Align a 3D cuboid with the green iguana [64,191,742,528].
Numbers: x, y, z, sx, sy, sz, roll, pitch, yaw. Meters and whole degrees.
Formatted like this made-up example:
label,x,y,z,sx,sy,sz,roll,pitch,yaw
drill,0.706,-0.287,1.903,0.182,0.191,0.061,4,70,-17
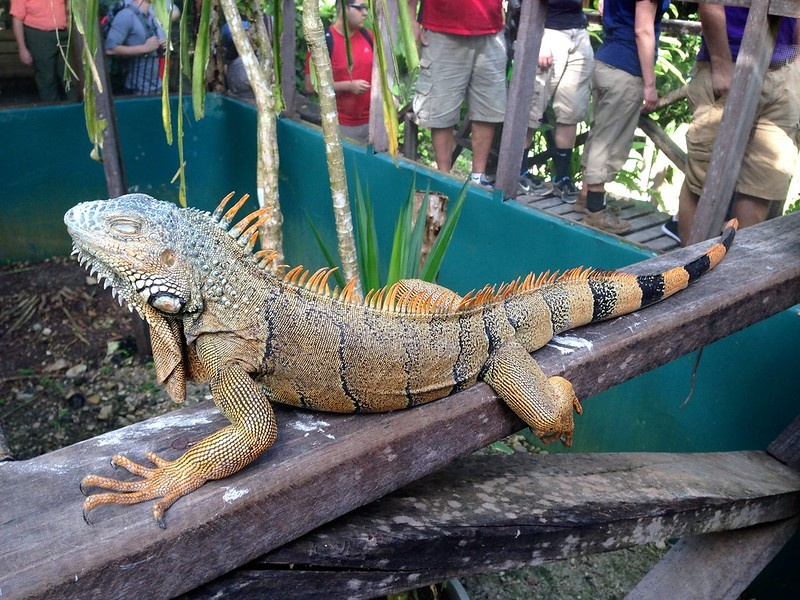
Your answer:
label,x,y,z,sx,sy,sz,roll,pitch,yaw
green iguana,-0.053,0.172,2.371,1.958,0.723,1.105,-3,21,-14
